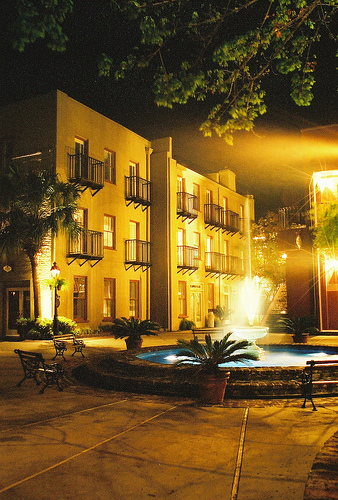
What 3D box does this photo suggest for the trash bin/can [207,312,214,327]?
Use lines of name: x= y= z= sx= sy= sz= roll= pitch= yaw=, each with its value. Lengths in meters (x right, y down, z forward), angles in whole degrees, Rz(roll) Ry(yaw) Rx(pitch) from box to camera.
trash bin/can: x=2.421 y=4.058 z=31.014 sx=0.334 sy=0.848 sz=0.722 roll=-2 pitch=-6 yaw=16

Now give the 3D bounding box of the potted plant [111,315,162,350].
potted plant: x=-1.071 y=2.454 z=15.699 sx=1.332 sy=0.910 sz=0.944 roll=-1 pitch=-6 yaw=1

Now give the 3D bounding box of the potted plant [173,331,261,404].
potted plant: x=0.827 y=1.876 z=8.761 sx=1.175 sy=0.918 sz=1.222 roll=-11 pitch=-26 yaw=37
